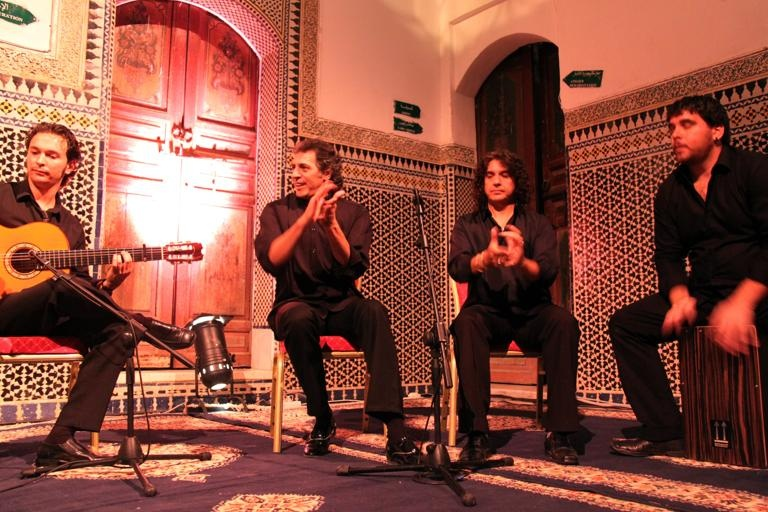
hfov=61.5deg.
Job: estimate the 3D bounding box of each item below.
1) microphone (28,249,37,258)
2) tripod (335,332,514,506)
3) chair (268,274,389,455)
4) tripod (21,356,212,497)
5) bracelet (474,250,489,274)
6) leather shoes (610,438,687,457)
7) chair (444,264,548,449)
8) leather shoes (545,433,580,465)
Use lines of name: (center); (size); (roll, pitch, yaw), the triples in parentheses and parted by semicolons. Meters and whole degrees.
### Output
microphone: (-2.024, -0.015, 3.731); (0.041, 0.020, 0.057); (15, -9, -14)
tripod: (0.248, 0.822, 3.596); (0.763, 0.867, 0.760); (-4, -9, 26)
chair: (-0.295, 0.645, 3.946); (0.807, 0.866, 0.836); (-14, -15, 18)
tripod: (-1.347, 0.821, 3.458); (0.709, 0.467, 0.721); (1, -4, 32)
bracelet: (0.580, 0.031, 3.864); (0.074, 0.110, 0.198); (1, -8, -7)
leather shoes: (1.571, 1.145, 3.859); (0.390, 0.158, 0.140); (2, -13, 5)
chair: (1.007, 1.140, 6.310); (0.986, 1.570, 1.107); (-13, -21, 1)
leather shoes: (1.001, 1.104, 3.760); (0.127, 0.173, 0.269); (5, -9, -29)
